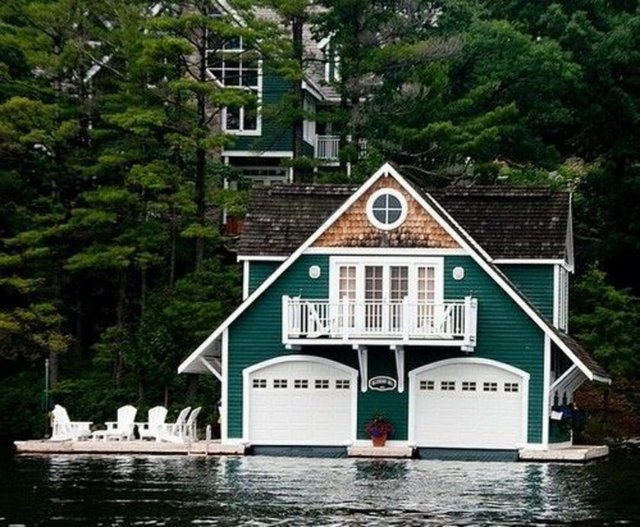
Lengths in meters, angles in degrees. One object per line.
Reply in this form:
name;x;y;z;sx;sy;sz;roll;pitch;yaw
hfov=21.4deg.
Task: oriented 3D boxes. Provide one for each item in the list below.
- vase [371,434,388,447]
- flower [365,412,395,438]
vase;2.056;6.476;61.606;0.454;0.309;0.436;2;-3;-13
flower;2.080;5.914;61.654;0.967;0.844;0.473;-1;-4;6
